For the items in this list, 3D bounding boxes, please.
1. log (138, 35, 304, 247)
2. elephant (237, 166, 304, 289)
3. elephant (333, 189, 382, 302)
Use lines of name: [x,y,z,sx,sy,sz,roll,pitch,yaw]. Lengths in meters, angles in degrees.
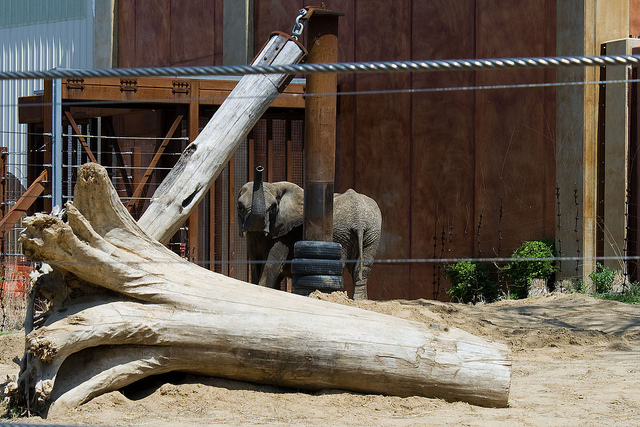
log: [-1.577,-1.092,25.269,1.129,5.087,0.975,28,-15,2]
elephant: [-0.973,0.369,28.674,1.306,2.033,2.939,4,-7,7]
elephant: [0.661,0.587,28.327,0.730,1.880,1.138,2,25,1]
